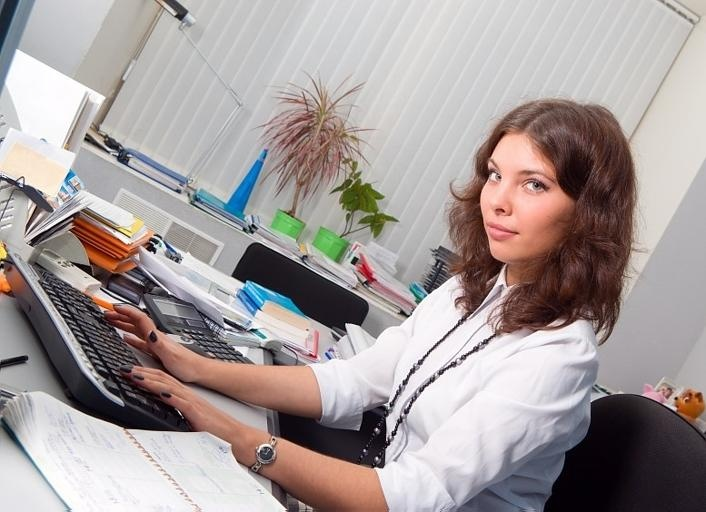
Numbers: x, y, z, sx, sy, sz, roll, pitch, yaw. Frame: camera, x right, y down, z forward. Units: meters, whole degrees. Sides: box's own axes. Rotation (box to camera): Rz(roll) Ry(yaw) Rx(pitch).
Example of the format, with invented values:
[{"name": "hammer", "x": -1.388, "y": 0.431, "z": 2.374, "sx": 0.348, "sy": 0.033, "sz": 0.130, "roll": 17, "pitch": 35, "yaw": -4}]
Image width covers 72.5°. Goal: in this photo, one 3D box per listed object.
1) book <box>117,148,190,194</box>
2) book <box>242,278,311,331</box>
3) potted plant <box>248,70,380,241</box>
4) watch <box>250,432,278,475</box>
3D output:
[{"name": "book", "x": -1.128, "y": -0.493, "z": 2.765, "sx": 0.311, "sy": 0.082, "sz": 0.236, "roll": 28, "pitch": -1, "yaw": -27}, {"name": "book", "x": -0.297, "y": 0.153, "z": 1.806, "sx": 0.248, "sy": 0.159, "sz": 0.320, "roll": 1, "pitch": 11, "yaw": -8}, {"name": "potted plant", "x": -0.245, "y": -0.645, "z": 3.179, "sx": 0.585, "sy": 1.010, "sz": 0.647, "roll": 13, "pitch": -2, "yaw": -20}, {"name": "watch", "x": -0.157, "y": 0.362, "z": 0.880, "sx": 0.030, "sy": 0.058, "sz": 0.057, "roll": 30, "pitch": -40, "yaw": 6}]
